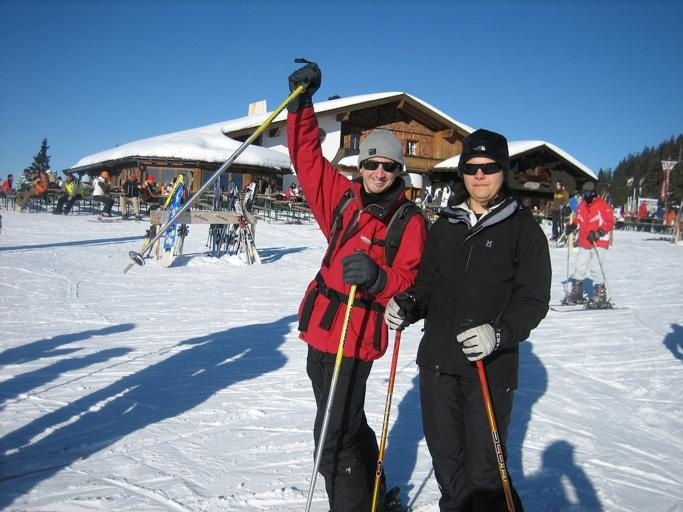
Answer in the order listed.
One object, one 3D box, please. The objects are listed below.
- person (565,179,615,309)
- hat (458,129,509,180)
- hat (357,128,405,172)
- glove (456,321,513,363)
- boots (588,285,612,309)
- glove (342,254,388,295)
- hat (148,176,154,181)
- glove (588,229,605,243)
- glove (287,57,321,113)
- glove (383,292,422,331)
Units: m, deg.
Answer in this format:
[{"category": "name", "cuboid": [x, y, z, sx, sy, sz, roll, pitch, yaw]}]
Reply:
[{"category": "person", "cuboid": [4.773, -0.189, 9.824, 0.521, 2.431, 0.850, -2, 9, -27]}, {"category": "hat", "cuboid": [0.929, -0.690, 3.389, 0.302, 0.318, 0.343, -4, -11, 39]}, {"category": "hat", "cuboid": [0.275, -0.768, 3.539, 0.264, 0.310, 0.301, 4, -10, 0]}, {"category": "glove", "cuboid": [0.823, 0.498, 3.005, 0.233, 0.149, 0.318, 47, -36, -18]}, {"category": "boots", "cuboid": [4.946, 0.783, 9.770, 0.187, 0.463, 0.416, 4, -2, -43]}, {"category": "glove", "cuboid": [0.127, 0.099, 3.225, 0.277, 0.125, 0.202, 33, -7, -30]}, {"category": "hat", "cuboid": [-9.106, -3.672, 24.308, 0.250, 0.271, 0.264, 2, 18, -3]}, {"category": "glove", "cuboid": [4.732, -0.373, 9.505, 0.237, 0.281, 0.189, 1, -2, 6]}, {"category": "glove", "cuboid": [-0.273, -1.285, 3.834, 0.203, 0.441, 0.288, 4, 6, -8]}, {"category": "glove", "cuboid": [0.335, 0.345, 3.192, 0.106, 0.189, 0.231, 3, 20, 37]}]
